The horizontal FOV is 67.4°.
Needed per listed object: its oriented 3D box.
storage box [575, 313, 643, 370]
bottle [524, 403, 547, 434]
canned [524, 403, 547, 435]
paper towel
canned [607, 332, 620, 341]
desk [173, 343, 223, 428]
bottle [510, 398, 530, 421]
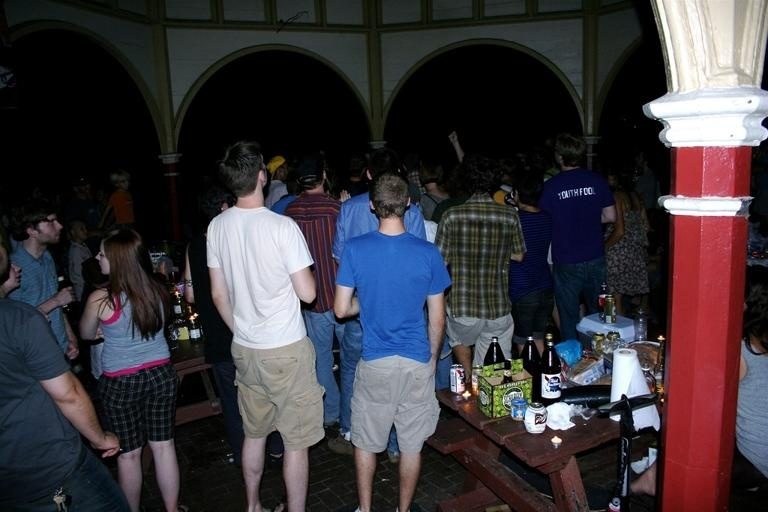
[{"bbox_3d":[1.979,0.693,5.090,0.343,0.312,0.456,-15,20,-27],"label":"storage box"},{"bbox_3d":[1.057,1.142,4.068,0.182,0.181,0.187,1,-1,11],"label":"bottle"},{"bbox_3d":[1.055,1.144,4.068,0.182,0.181,0.187,1,-1,11],"label":"canned"},{"bbox_3d":[1.790,0.968,4.105,0.316,0.573,0.279,0,9,25],"label":"paper towel"},{"bbox_3d":[1.929,0.675,4.826,0.071,0.068,0.070,-3,10,-16],"label":"canned"},{"bbox_3d":[-1.668,1.249,5.562,0.606,0.523,0.518,-20,-3,27],"label":"desk"},{"bbox_3d":[0.979,1.110,4.181,0.133,0.131,0.137,2,6,25],"label":"bottle"}]
